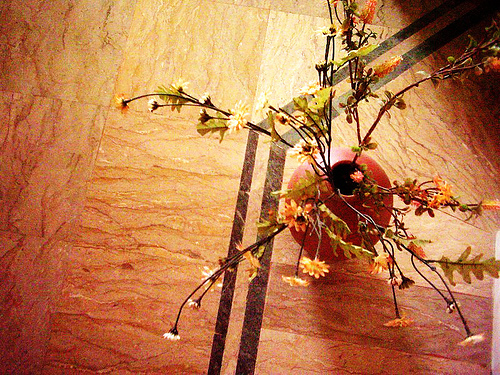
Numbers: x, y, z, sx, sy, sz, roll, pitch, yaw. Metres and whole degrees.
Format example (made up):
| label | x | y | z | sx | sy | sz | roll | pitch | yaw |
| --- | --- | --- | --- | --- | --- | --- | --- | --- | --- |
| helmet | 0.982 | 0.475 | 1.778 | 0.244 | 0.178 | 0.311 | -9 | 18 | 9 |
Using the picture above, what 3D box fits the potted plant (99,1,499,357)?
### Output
| label | x | y | z | sx | sy | sz | roll | pitch | yaw |
| --- | --- | --- | --- | --- | --- | --- | --- | --- | --- |
| potted plant | 0.214 | -0.027 | 1.736 | 1.182 | 1.327 | 0.557 | 4 | 4 | 2 |
